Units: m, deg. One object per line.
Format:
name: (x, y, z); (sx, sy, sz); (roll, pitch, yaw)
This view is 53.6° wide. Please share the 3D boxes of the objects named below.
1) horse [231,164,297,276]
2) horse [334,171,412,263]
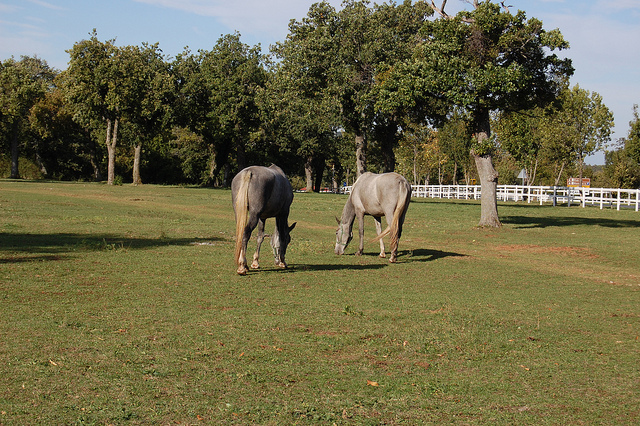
horse: (-1.851, 0.185, 21.359); (1.236, 3.724, 4.678); (3, -4, 15)
horse: (2.131, 0.205, 24.812); (1.394, 3.403, 4.969); (-3, 3, -27)
